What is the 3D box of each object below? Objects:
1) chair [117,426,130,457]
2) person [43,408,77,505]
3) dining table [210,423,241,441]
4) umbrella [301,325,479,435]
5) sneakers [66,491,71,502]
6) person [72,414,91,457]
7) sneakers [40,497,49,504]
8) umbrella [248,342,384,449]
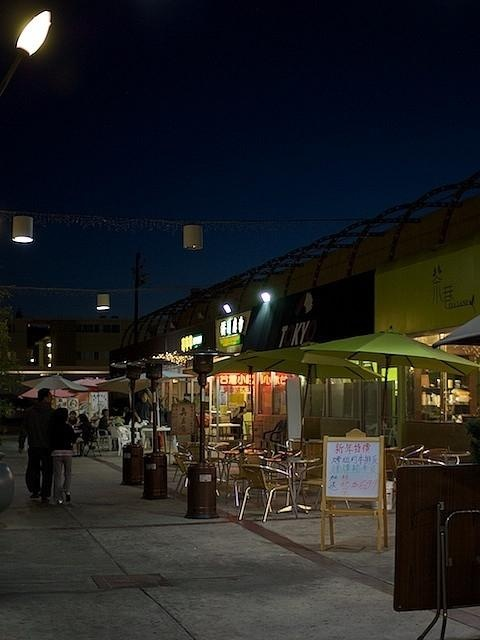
[{"bbox_3d":[-4.601,4.769,22.917,0.489,1.136,0.865,3,-8,-11],"label":"chair"},{"bbox_3d":[-3.318,2.500,10.760,0.478,1.740,0.573,4,-9,-17],"label":"person"},{"bbox_3d":[-0.642,4.501,23.280,1.167,0.762,1.877,2,-8,-6],"label":"dining table"},{"bbox_3d":[2.405,1.118,10.094,2.604,1.660,3.456,2,-8,-8],"label":"umbrella"},{"bbox_3d":[-3.139,3.244,10.601,0.095,0.183,0.096,7,-10,-36],"label":"sneakers"},{"bbox_3d":[-6.378,4.592,23.451,0.956,1.659,0.721,4,4,8],"label":"person"},{"bbox_3d":[-3.626,3.347,10.800,0.125,0.045,0.141,1,-5,0],"label":"sneakers"},{"bbox_3d":[2.215,1.930,15.223,3.787,2.474,3.268,5,-5,-28],"label":"umbrella"}]
